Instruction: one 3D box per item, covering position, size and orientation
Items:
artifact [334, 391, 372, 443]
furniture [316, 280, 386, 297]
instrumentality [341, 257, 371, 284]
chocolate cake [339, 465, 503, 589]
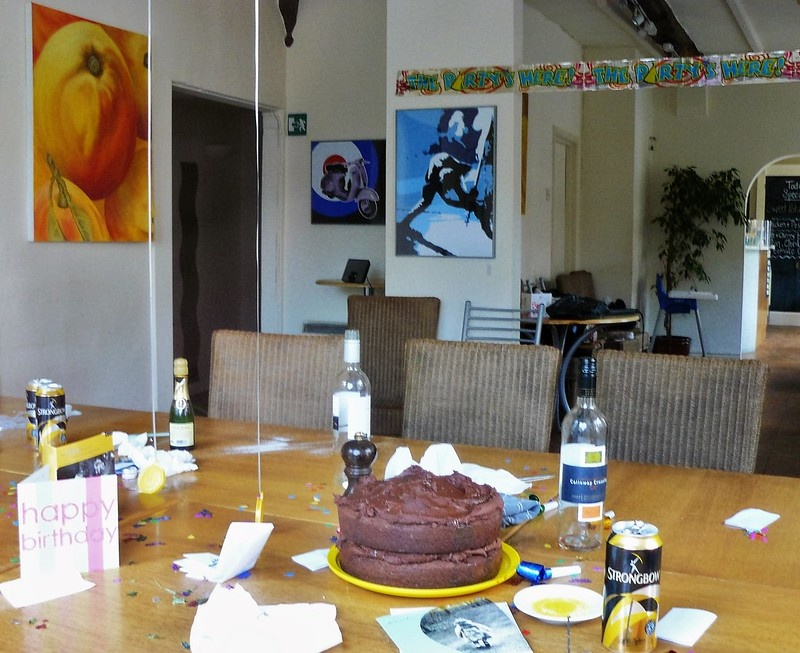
[{"bbox_3d":[-0.109,0.200,1.410,0.093,0.118,0.099,1,5,15],"label":"artifact"},{"bbox_3d":[-0.425,-0.331,5.437,0.611,0.113,0.290,2,4,16],"label":"furniture"},{"bbox_3d":[-0.359,-0.444,5.355,0.211,0.198,0.149,1,3,-5],"label":"instrumentality"},{"bbox_3d":[0.026,0.292,0.967,0.237,0.131,0.137,2,3,10],"label":"chocolate cake"}]
